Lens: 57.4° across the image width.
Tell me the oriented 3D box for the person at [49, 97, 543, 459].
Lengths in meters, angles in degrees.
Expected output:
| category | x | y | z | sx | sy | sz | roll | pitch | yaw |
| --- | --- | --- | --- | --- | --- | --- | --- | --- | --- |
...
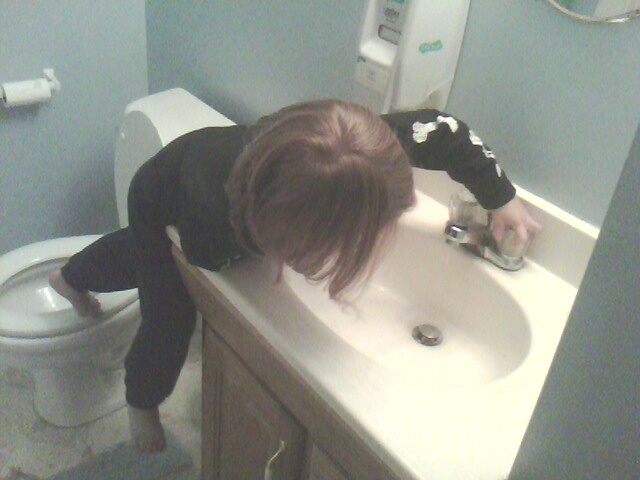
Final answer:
| category | x | y | z | sx | sy | sz | roll | pitch | yaw |
| --- | --- | --- | --- | --- | --- | --- | --- | --- | --- |
| person | -0.086 | 0.103 | 0.875 | 0.697 | 0.659 | 0.161 | 13 | 35 | 12 |
